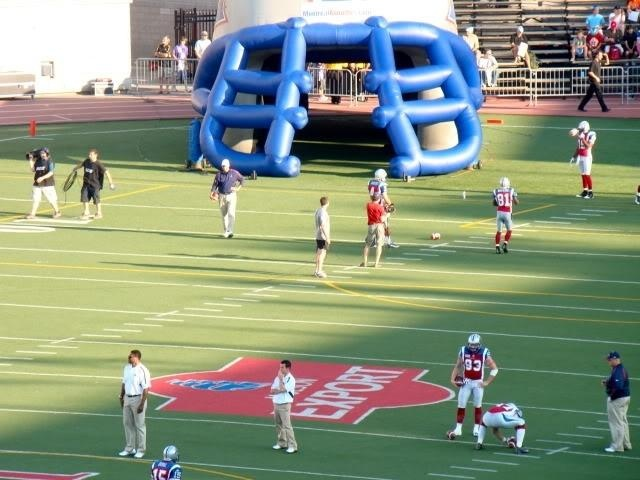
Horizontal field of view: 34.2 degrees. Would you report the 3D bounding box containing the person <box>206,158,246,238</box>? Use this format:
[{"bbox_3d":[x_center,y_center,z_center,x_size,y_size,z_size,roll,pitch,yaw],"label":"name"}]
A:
[{"bbox_3d":[-2.569,-1.101,28.424,0.825,2.115,0.851,-3,5,3],"label":"person"}]

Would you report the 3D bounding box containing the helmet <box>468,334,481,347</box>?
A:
[{"bbox_3d":[2.512,1.662,16.999,0.251,0.265,0.317,0,-8,7],"label":"helmet"}]

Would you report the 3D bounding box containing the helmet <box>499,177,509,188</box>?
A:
[{"bbox_3d":[4.691,-1.448,26.441,0.199,0.252,0.657,-2,6,7],"label":"helmet"}]

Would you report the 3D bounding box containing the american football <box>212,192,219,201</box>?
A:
[{"bbox_3d":[-2.916,-1.175,28.223,0.155,0.214,0.072,4,-6,-3],"label":"american football"}]

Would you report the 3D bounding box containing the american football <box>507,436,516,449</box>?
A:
[{"bbox_3d":[3.097,3.301,16.842,0.068,0.158,0.233,2,8,4],"label":"american football"}]

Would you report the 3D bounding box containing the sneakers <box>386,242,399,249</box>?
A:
[{"bbox_3d":[1.912,0.148,27.594,0.392,0.167,0.134,2,28,0],"label":"sneakers"}]

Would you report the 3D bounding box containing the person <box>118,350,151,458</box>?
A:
[{"bbox_3d":[-3.005,2.625,16.515,0.540,1.736,0.302,1,7,36],"label":"person"}]

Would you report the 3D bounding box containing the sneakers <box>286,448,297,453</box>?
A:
[{"bbox_3d":[-0.483,3.390,16.690,0.161,0.068,0.064,5,-3,-22],"label":"sneakers"}]

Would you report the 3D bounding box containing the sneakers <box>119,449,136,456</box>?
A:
[{"bbox_3d":[-3.114,3.410,16.662,0.267,0.120,0.098,4,8,2],"label":"sneakers"}]

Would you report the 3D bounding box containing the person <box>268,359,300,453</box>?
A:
[{"bbox_3d":[-0.620,2.653,16.763,0.399,1.553,0.796,-3,6,-2],"label":"person"}]

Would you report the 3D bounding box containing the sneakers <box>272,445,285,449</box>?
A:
[{"bbox_3d":[-0.691,3.363,16.853,0.155,0.067,0.076,4,5,6],"label":"sneakers"}]

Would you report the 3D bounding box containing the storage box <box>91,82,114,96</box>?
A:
[{"bbox_3d":[-12.412,-8.661,59.153,1.186,0.870,0.701,-6,7,-30],"label":"storage box"}]

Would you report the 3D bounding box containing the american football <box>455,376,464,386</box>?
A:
[{"bbox_3d":[2.262,2.320,16.973,0.144,0.147,0.053,-21,16,-6],"label":"american football"}]

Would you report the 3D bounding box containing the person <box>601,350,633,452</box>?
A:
[{"bbox_3d":[4.862,2.570,17.007,0.433,1.647,0.984,-1,6,16],"label":"person"}]
